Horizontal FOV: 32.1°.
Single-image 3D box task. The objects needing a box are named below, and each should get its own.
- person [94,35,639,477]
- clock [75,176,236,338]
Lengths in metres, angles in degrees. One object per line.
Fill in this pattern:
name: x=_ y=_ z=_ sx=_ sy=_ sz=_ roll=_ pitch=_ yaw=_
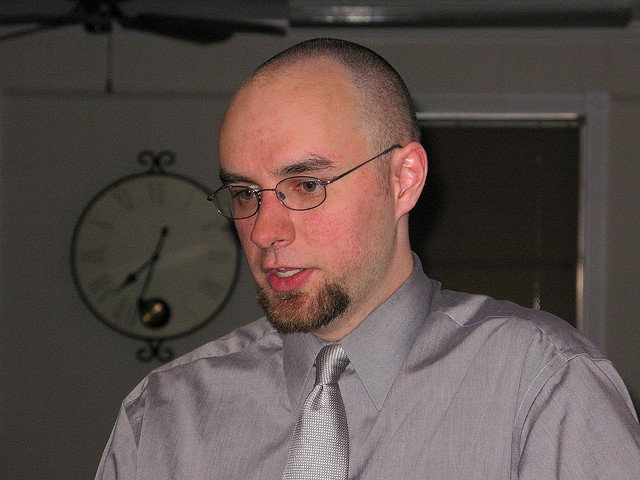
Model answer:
person: x=0.132 y=0.034 z=4.788 sx=2.013 sy=0.944 sz=1.450 roll=-5 pitch=76 yaw=22
clock: x=-0.828 y=0.086 z=5.657 sx=0.755 sy=0.079 sz=0.765 roll=6 pitch=92 yaw=-2
